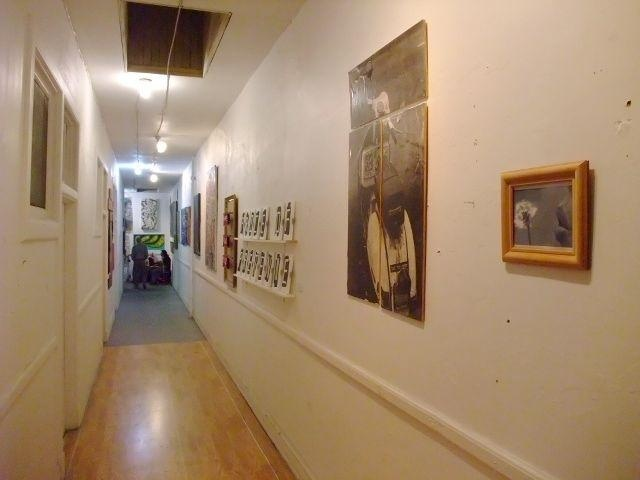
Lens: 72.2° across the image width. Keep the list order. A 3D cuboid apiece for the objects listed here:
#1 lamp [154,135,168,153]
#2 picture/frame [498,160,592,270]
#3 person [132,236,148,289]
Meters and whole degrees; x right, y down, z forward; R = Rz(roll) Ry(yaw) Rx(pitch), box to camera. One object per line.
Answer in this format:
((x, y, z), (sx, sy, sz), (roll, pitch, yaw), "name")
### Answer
((-2.475, -1.524, 6.825), (0.208, 0.261, 0.490), (-1, 8, -9), "lamp")
((0.836, -0.095, 1.608), (0.036, 0.377, 0.368), (0, 1, -27), "picture/frame")
((-4.981, 0.555, 12.151), (0.371, 1.412, 0.389), (-3, 22, -26), "person")
